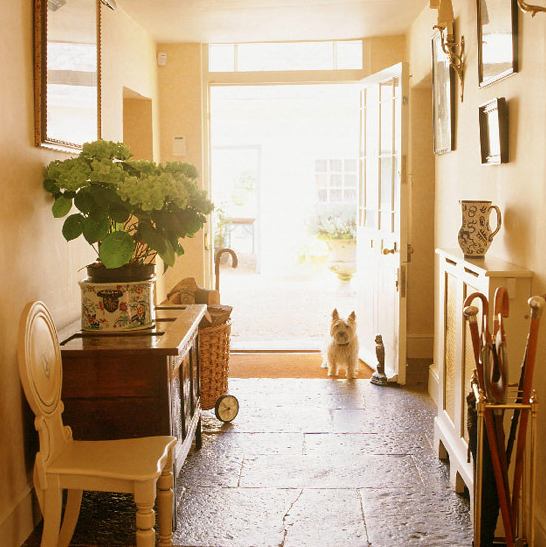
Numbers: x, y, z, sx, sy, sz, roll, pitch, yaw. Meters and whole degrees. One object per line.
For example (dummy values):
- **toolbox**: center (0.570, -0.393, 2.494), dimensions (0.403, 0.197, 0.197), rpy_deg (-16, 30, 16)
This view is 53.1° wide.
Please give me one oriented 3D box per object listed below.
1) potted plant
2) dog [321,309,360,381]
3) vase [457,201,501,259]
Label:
- **potted plant**: center (-0.576, -0.181, 2.420), dimensions (0.616, 0.935, 0.757), rpy_deg (0, 0, 22)
- **dog**: center (0.525, 0.551, 4.224), dimensions (0.238, 0.538, 0.239), rpy_deg (1, 5, 9)
- **vase**: center (0.924, -0.193, 2.463), dimensions (0.167, 0.255, 0.123), rpy_deg (-1, 5, -10)
